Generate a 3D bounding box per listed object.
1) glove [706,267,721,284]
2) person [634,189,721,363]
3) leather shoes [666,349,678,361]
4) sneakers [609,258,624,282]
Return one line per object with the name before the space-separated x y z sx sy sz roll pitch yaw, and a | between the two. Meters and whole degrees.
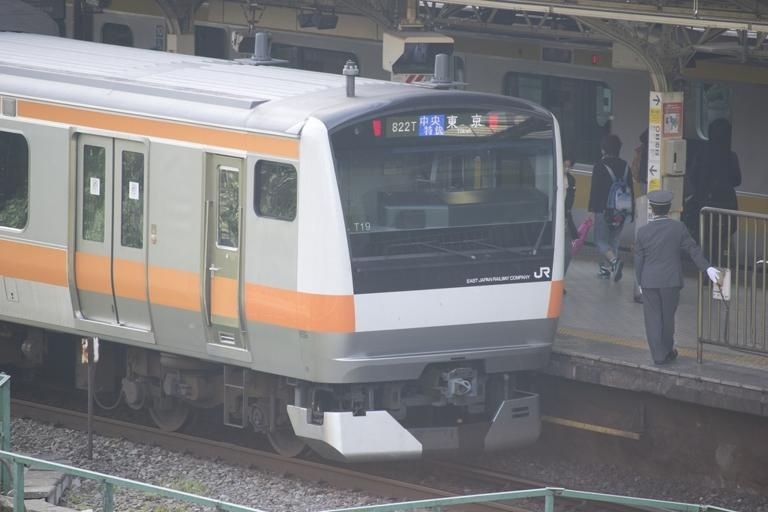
glove | 4.114 0.231 17.092 0.202 0.202 0.084 -11 -23 -39
person | 3.716 0.293 17.536 1.016 2.136 0.540 5 2 33
leather shoes | 3.807 1.307 17.969 0.127 0.149 0.133 2 13 -29
sneakers | 3.677 0.199 21.387 0.145 0.430 0.181 -28 46 -30
